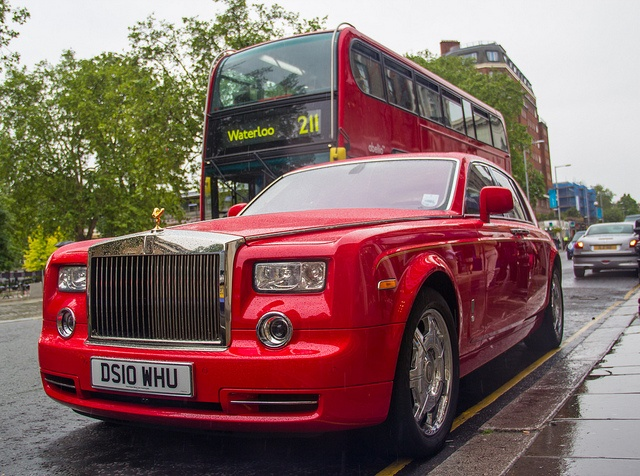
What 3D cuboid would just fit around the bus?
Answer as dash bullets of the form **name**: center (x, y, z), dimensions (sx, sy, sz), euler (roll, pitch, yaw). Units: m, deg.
- **bus**: center (1.558, -2.095, 13.046), dimensions (2.950, 4.138, 8.705), euler (-2, 0, 33)
